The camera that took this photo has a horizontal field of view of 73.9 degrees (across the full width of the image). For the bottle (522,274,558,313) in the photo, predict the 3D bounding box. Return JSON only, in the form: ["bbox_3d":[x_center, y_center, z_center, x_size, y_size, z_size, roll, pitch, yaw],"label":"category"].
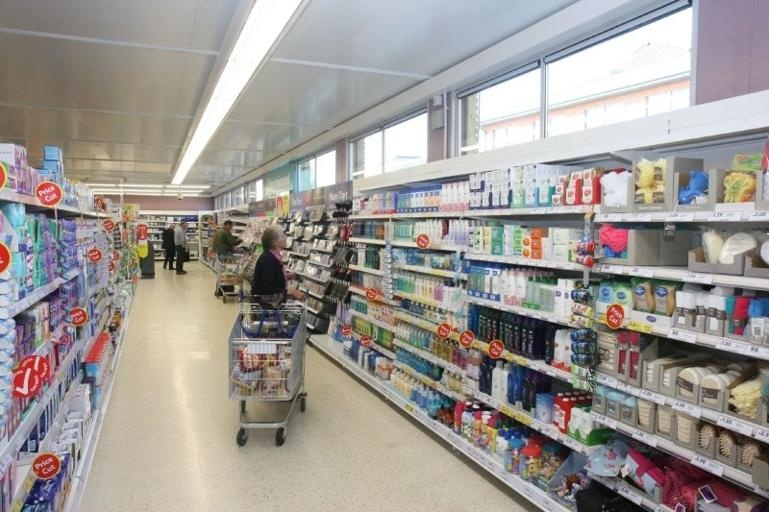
[{"bbox_3d":[1.460,0.348,4.763,0.335,0.294,0.190,9,14,39],"label":"bottle"}]

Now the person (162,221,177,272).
[{"bbox_3d":[-8.705,-0.344,21.027,0.513,1.992,1.570,-4,11,-23],"label":"person"}]

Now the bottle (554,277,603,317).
[{"bbox_3d":[1.618,0.368,4.428,0.219,0.380,0.363,-1,-1,-23],"label":"bottle"}]

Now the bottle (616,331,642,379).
[{"bbox_3d":[1.940,0.808,4.084,0.110,0.321,0.221,5,0,-26],"label":"bottle"}]

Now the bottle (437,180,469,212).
[{"bbox_3d":[0.778,-0.656,5.716,0.118,0.330,0.367,0,8,-34],"label":"bottle"}]

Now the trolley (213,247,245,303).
[{"bbox_3d":[-4.061,0.561,13.628,0.751,1.248,0.883,-1,2,-40],"label":"trolley"}]

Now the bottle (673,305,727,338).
[{"bbox_3d":[2.295,0.469,3.710,0.205,0.137,0.209,0,6,0],"label":"bottle"}]

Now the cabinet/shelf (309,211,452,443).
[{"bbox_3d":[0.006,0.988,6.789,0.859,1.469,2.514,6,6,-33],"label":"cabinet/shelf"}]

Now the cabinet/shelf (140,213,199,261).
[{"bbox_3d":[-9.369,-0.912,22.528,2.313,2.189,0.768,-1,3,-9],"label":"cabinet/shelf"}]

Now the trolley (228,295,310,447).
[{"bbox_3d":[-1.296,1.302,5.964,0.764,1.465,1.063,0,10,-1],"label":"trolley"}]
